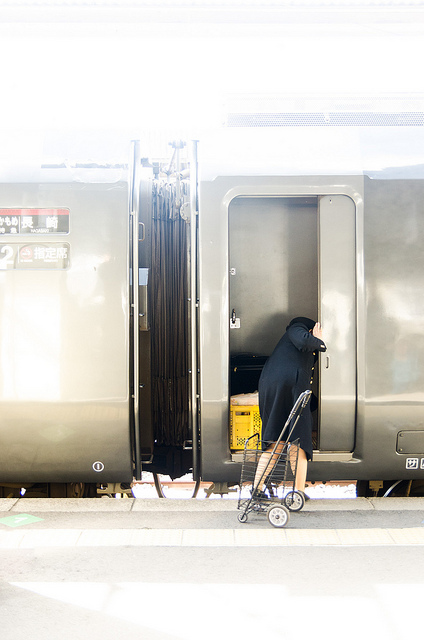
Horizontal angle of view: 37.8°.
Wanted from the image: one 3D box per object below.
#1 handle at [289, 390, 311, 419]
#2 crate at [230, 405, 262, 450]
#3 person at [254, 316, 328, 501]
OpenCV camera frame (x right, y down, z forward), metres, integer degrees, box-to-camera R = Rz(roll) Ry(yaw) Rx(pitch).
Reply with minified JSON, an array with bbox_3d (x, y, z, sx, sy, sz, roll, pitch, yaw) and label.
[{"bbox_3d":[0.557,0.552,3.980,0.098,0.182,0.239,2,4,31],"label":"handle"},{"bbox_3d":[0.236,0.767,4.405,0.191,0.314,0.234,0,-1,-1],"label":"crate"},{"bbox_3d":[0.524,0.636,4.139,0.489,1.268,0.645,0,4,10],"label":"person"}]
